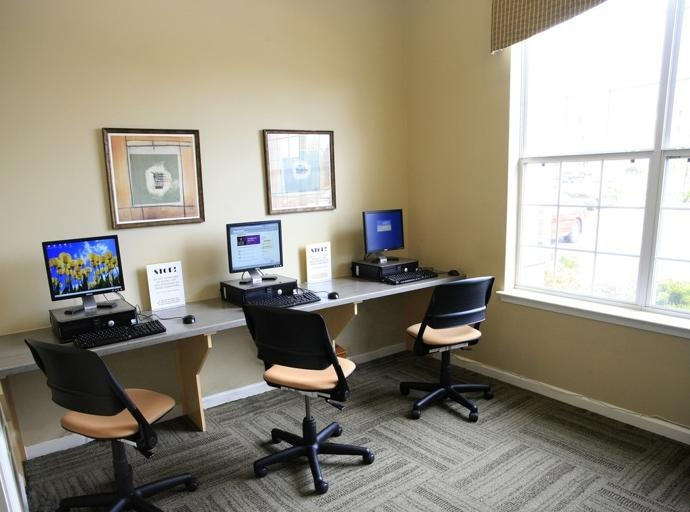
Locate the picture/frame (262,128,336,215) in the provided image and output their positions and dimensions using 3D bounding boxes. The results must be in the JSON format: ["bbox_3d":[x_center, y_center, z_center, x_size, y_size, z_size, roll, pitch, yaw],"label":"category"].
[{"bbox_3d":[-0.405,-0.701,4.148,0.681,0.704,0.025,-6,7,-40],"label":"picture/frame"}]

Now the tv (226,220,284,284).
[{"bbox_3d":[-0.698,-0.034,3.834,0.431,0.451,0.142,-6,7,-32],"label":"tv"}]

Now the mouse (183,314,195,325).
[{"bbox_3d":[-1.047,0.427,3.394,0.082,0.041,0.112,-9,13,-18],"label":"mouse"}]

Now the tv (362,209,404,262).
[{"bbox_3d":[0.316,-0.184,4.432,0.424,0.334,0.042,-8,7,-36],"label":"tv"}]

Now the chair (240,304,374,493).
[{"bbox_3d":[-0.296,1.002,3.416,0.839,1.117,0.785,8,15,32],"label":"chair"}]

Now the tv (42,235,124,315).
[{"bbox_3d":[-1.726,0.123,3.307,0.467,0.503,0.157,-6,5,-33],"label":"tv"}]

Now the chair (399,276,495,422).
[{"bbox_3d":[0.828,0.763,3.990,0.738,1.048,0.703,-9,17,-27],"label":"chair"}]

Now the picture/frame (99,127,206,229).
[{"bbox_3d":[-1.407,-0.563,3.612,0.678,0.739,0.049,-6,11,-33],"label":"picture/frame"}]
